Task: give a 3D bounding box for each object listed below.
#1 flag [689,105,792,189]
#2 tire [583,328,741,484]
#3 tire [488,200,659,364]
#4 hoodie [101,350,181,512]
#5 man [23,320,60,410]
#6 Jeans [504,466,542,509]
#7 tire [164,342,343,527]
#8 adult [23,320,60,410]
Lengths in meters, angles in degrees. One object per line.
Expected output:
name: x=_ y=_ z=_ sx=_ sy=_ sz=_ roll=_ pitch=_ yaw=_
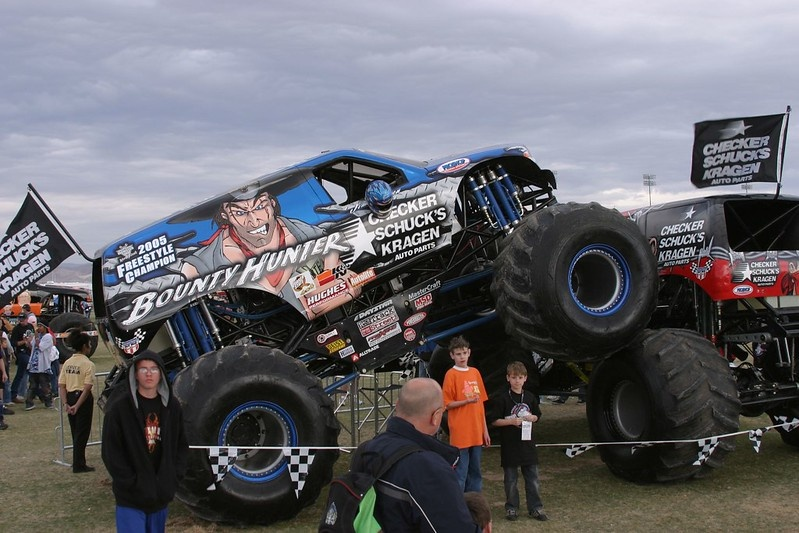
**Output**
flag: x=5.587 y=-1.898 z=10.629 sx=0.311 sy=1.282 sz=1.464 roll=-1 pitch=0 yaw=-36
tire: x=3.684 y=1.972 z=9.046 sx=0.858 sy=1.641 sz=1.623 roll=15 pitch=35 yaw=-28
tire: x=2.578 y=0.198 z=9.177 sx=2.324 sy=2.067 sz=1.072 roll=1 pitch=-3 yaw=-25
hoodie: x=-2.532 y=1.646 z=6.405 sx=0.774 sy=1.642 sz=0.267 roll=-1 pitch=0 yaw=-16
man: x=-8.365 y=2.309 z=15.066 sx=0.713 sy=1.963 sz=0.663 roll=-4 pitch=-6 yaw=28
Jeans: x=1.582 y=2.850 z=8.430 sx=0.450 sy=0.605 sz=0.598 roll=-1 pitch=0 yaw=-1
tire: x=-1.854 y=2.133 z=7.932 sx=2.434 sy=2.160 sz=1.014 roll=2 pitch=-6 yaw=-17
adult: x=-8.374 y=2.285 z=15.045 sx=0.936 sy=1.969 sz=0.884 roll=0 pitch=-7 yaw=-24
